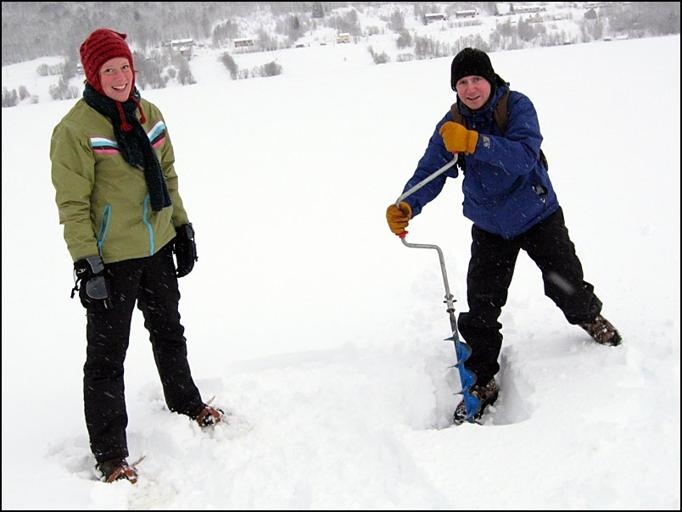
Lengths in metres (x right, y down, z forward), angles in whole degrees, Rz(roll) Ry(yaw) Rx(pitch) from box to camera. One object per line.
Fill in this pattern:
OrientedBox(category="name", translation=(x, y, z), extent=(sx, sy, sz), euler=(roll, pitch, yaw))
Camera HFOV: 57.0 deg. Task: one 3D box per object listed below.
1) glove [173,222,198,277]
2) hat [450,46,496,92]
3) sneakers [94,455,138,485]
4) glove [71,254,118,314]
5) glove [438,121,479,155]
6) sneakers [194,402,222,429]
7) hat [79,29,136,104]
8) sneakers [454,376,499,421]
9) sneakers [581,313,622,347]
OrientedBox(category="glove", translation=(-1.324, -0.056, 5.333), extent=(0.266, 0.426, 0.125), euler=(-1, 0, 32))
OrientedBox(category="hat", translation=(1.111, -1.634, 5.446), extent=(0.377, 0.361, 0.386), euler=(-12, 10, -8))
OrientedBox(category="sneakers", translation=(-1.699, 1.633, 4.789), extent=(0.308, 0.155, 0.150), euler=(-13, -10, 23))
OrientedBox(category="glove", translation=(-1.957, 0.179, 4.850), extent=(0.268, 0.407, 0.267), euler=(6, 12, 28))
OrientedBox(category="glove", translation=(0.972, -0.968, 5.148), extent=(0.294, 0.271, 0.171), euler=(-1, 18, 33))
OrientedBox(category="sneakers", translation=(-1.103, 1.343, 5.273), extent=(0.129, 0.098, 0.206), euler=(-8, 7, -20))
OrientedBox(category="hat", translation=(-1.835, -1.554, 4.956), extent=(0.402, 0.512, 0.364), euler=(24, 33, 39))
OrientedBox(category="sneakers", translation=(1.237, 1.294, 5.666), extent=(0.545, 0.247, 0.189), euler=(-34, 8, -39))
OrientedBox(category="sneakers", translation=(2.368, 0.690, 5.749), extent=(0.361, 0.229, 0.135), euler=(34, -6, 14))
